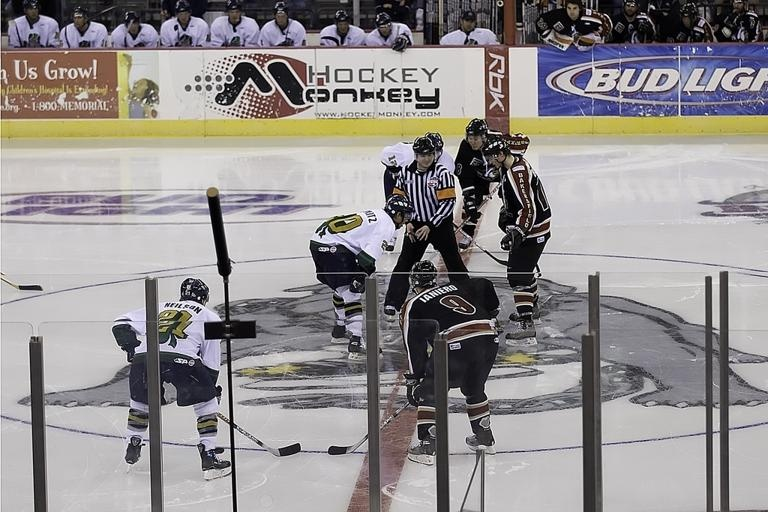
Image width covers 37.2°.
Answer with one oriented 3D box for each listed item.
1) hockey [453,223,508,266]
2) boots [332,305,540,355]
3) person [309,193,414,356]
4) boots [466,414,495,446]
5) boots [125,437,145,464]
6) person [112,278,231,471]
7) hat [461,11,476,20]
[{"bbox_3d":[0.864,-0.171,10.703,0.430,0.109,0.410,25,6,-33],"label":"hockey"},{"bbox_3d":[0.291,0.433,6.439,1.176,0.181,0.184,-3,14,-5],"label":"boots"},{"bbox_3d":[-0.170,0.102,7.894,0.971,1.194,0.763,-4,17,-11],"label":"person"},{"bbox_3d":[0.535,1.004,6.511,0.100,0.183,0.210,-8,-1,-34],"label":"boots"},{"bbox_3d":[-1.413,1.098,6.503,0.107,0.148,0.072,6,-3,3],"label":"boots"},{"bbox_3d":[-1.213,0.715,6.493,0.590,1.133,0.363,-6,15,-10],"label":"person"},{"bbox_3d":[1.299,-3.732,17.669,0.203,0.095,0.258,3,13,2],"label":"hat"}]
